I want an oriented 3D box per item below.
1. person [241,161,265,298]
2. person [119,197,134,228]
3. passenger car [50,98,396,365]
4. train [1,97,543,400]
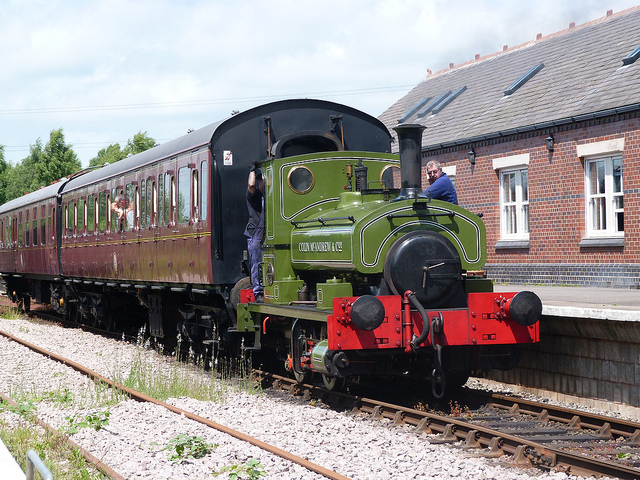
[{"bbox_3d":[-1.088,-0.155,9.826,0.279,2.286,0.623,-3,0,-14],"label":"person"},{"bbox_3d":[-4.884,-0.727,14.792,0.445,0.874,0.340,0,-1,18],"label":"person"},{"bbox_3d":[-4.055,-0.271,16.780,3.544,5.073,15.020,-5,2,-32],"label":"passenger car"},{"bbox_3d":[-4.442,0.125,17.600,4.808,6.881,24.072,-1,2,-28],"label":"train"}]
